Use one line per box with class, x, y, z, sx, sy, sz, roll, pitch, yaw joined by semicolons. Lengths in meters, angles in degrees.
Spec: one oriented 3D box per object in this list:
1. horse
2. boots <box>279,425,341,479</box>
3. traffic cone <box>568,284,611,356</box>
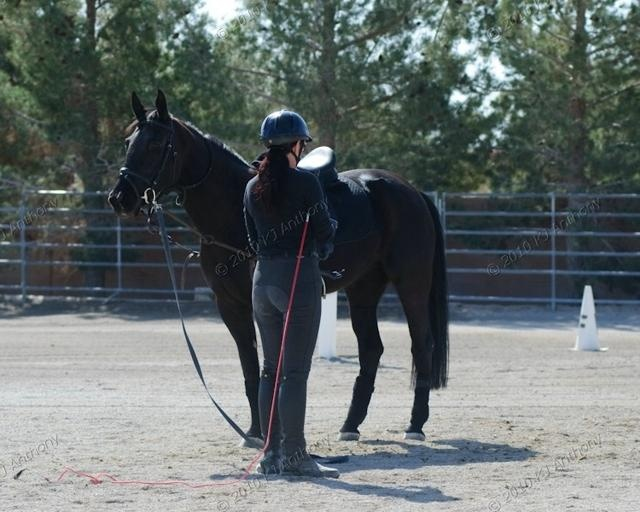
horse;-0.392;0.520;26.191;7.124;5.120;2.118;5;-9;-43
boots;-0.210;3.176;25.228;0.977;0.662;0.360;0;-11;9
traffic cone;4.933;1.115;30.499;0.731;1.210;0.718;2;14;-14
